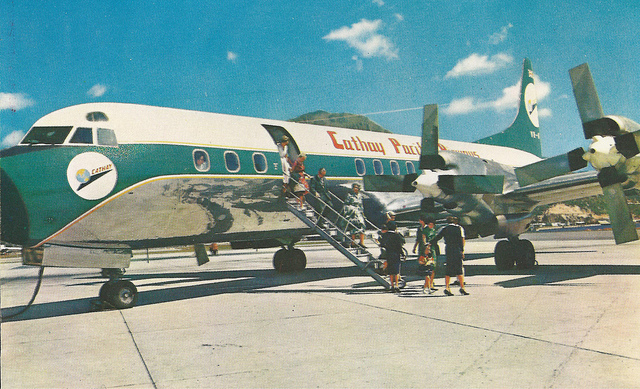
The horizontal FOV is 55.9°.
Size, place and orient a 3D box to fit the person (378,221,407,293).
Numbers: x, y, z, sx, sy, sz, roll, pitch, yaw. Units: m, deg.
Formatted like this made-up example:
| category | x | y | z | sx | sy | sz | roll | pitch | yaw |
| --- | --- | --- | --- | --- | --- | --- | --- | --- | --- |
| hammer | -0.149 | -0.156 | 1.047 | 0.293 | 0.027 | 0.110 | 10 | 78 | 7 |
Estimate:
| category | x | y | z | sx | sy | sz | roll | pitch | yaw |
| --- | --- | --- | --- | --- | --- | --- | --- | --- | --- |
| person | 2.289 | 1.957 | 18.922 | 0.721 | 2.273 | 0.523 | -3 | 10 | -4 |

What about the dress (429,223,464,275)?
| category | x | y | z | sx | sy | sz | roll | pitch | yaw |
| --- | --- | --- | --- | --- | --- | --- | --- | --- | --- |
| dress | 4.009 | 1.644 | 18.147 | 0.587 | 1.503 | 0.514 | -3 | 10 | 0 |

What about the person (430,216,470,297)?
| category | x | y | z | sx | sy | sz | roll | pitch | yaw |
| --- | --- | --- | --- | --- | --- | --- | --- | --- | --- |
| person | 4.048 | 1.868 | 18.400 | 0.721 | 2.339 | 0.956 | -3 | 10 | -5 |
